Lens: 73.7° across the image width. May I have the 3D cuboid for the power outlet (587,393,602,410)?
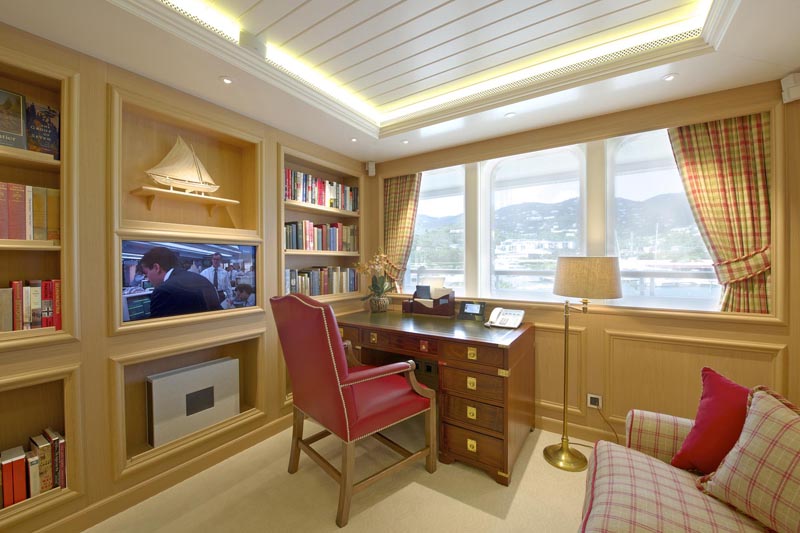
[{"bbox_3d":[1.732,1.192,4.724,0.147,0.145,0.080,-3,-7,42],"label":"power outlet"}]

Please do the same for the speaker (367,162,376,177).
[{"bbox_3d":[-0.316,-1.073,5.888,0.103,0.143,0.130,-2,1,24],"label":"speaker"}]

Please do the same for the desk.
[{"bbox_3d":[0.257,1.052,5.127,1.881,1.192,0.976,5,11,31],"label":"desk"}]
